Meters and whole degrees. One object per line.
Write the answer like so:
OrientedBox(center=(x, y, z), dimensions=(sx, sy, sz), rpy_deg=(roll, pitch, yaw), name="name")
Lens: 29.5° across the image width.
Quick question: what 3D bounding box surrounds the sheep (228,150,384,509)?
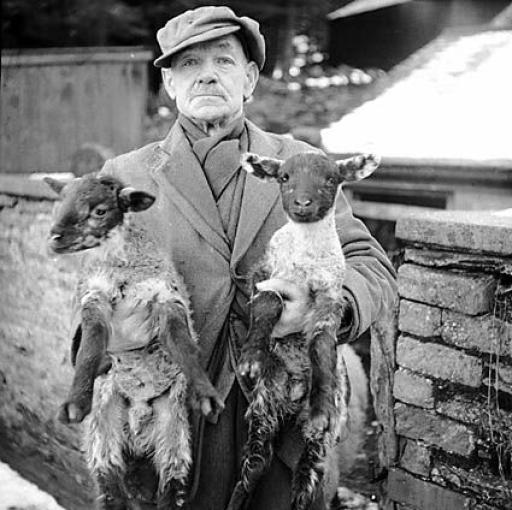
OrientedBox(center=(0.222, 0.353, 5.143), dimensions=(0.613, 2.114, 1.273), rpy_deg=(4, 16, 2), name="sheep")
